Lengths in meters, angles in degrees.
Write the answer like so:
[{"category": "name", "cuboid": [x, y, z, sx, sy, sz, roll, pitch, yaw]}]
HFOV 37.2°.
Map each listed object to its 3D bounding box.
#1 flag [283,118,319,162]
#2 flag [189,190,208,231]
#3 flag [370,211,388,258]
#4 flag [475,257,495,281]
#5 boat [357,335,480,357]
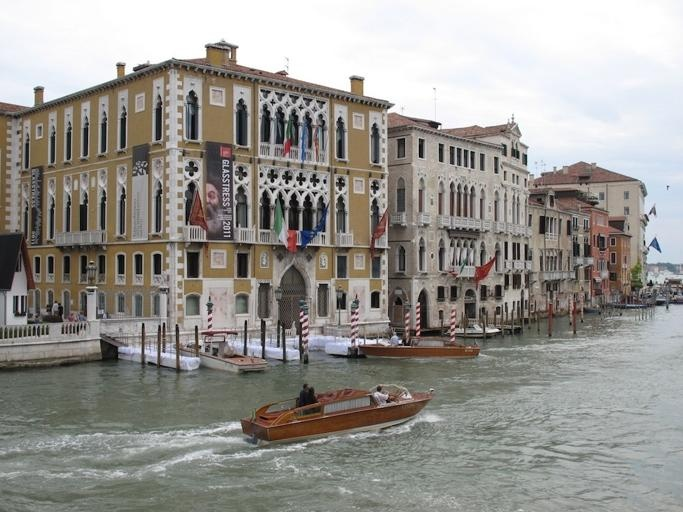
[{"category": "flag", "cuboid": [-2.910, -7.842, 68.873, 0.433, 2.666, 3.000, -5, -6, 40]}, {"category": "flag", "cuboid": [-8.930, -2.827, 63.272, 1.119, 2.574, 1.194, 1, 8, -7]}, {"category": "flag", "cuboid": [2.614, -1.637, 72.980, 1.125, 3.296, 1.659, 2, 8, 3]}, {"category": "flag", "cuboid": [11.973, 1.185, 85.152, 1.283, 2.310, 6.113, 3, 8, 10]}, {"category": "boat", "cuboid": [4.984, 6.013, 65.058, 7.338, 1.056, 1.465, 1, 8, -8]}]
